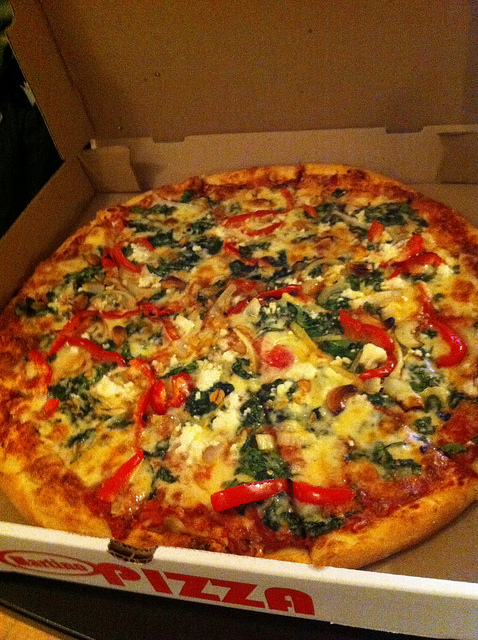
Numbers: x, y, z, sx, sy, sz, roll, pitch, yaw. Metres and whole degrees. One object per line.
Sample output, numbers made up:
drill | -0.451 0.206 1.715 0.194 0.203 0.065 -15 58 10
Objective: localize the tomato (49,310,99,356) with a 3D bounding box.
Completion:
tomato | -0.728 0.039 2.556 0.098 0.072 0.272 32 60 13

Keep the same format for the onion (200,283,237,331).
onion | -0.082 -0.054 2.429 0.066 0.067 0.253 -43 13 35

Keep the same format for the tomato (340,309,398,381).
tomato | 0.494 0.089 2.110 0.152 0.059 0.237 -16 47 2

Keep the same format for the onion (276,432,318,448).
onion | 0.195 0.409 1.923 0.138 0.018 0.054 0 35 14

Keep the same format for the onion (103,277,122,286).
onion | -0.617 -0.186 2.750 0.062 0.017 0.052 4 22 -8

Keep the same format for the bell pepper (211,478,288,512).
bell pepper | 0.034 0.555 1.800 0.249 0.091 0.048 -12 37 -2

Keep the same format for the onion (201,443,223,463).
onion | -0.090 0.455 1.954 0.057 0.017 0.067 4 57 41

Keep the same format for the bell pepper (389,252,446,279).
bell pepper | 0.751 -0.240 2.403 0.207 0.046 0.115 -16 51 -9

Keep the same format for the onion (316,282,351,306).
onion | 0.404 -0.093 2.427 0.128 0.034 0.096 -35 36 -18

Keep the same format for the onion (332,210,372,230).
onion | 0.548 -0.483 2.759 0.182 0.047 0.068 22 97 21

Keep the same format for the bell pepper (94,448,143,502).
bell pepper | -0.416 0.553 1.953 0.078 0.061 0.256 30 53 31

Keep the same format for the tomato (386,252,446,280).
tomato | 0.750 -0.238 2.400 0.200 0.044 0.123 -35 59 -17

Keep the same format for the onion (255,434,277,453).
onion | 0.094 0.421 1.924 0.065 0.021 0.053 -3 57 -1

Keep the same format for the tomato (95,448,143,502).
tomato | -0.414 0.551 1.953 0.076 0.058 0.239 29 55 32

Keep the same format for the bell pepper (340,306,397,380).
bell pepper | 0.487 0.093 2.139 0.199 0.076 0.308 -19 45 0

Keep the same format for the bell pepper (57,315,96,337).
bell pepper | -0.714 0.021 2.512 0.112 0.030 0.108 -28 38 -16

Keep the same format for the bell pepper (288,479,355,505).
bell pepper | 0.249 0.546 1.776 0.206 0.057 0.055 4 39 21

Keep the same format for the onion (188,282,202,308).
onion | -0.199 -0.107 2.551 0.061 0.027 0.147 10 49 9

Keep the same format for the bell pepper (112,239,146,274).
bell pepper | -0.564 -0.306 2.819 0.133 0.039 0.189 -40 66 4
